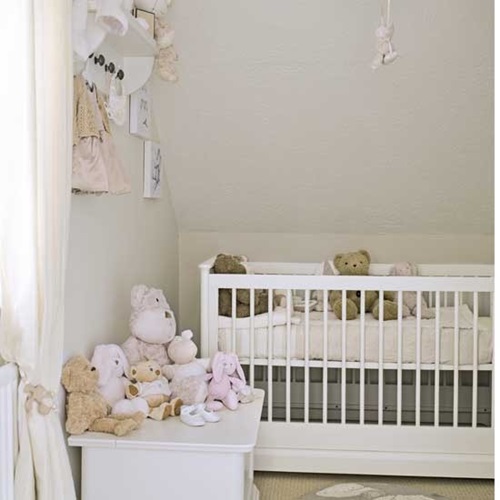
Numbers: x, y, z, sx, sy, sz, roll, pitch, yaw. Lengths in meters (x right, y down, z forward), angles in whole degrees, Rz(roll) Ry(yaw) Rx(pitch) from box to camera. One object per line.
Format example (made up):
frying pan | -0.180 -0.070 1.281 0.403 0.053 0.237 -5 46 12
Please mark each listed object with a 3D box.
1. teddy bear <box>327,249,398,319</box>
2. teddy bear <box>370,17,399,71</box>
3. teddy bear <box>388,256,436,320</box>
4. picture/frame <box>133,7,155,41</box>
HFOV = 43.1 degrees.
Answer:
teddy bear | 0.532 0.180 3.103 0.297 0.381 0.284 -6 -4 32
teddy bear | 0.535 -0.847 2.551 0.093 0.226 0.259 -1 1 12
teddy bear | 0.825 0.200 3.222 0.097 0.306 0.220 -13 -21 -33
picture/frame | -0.464 -1.027 2.840 0.030 0.158 0.122 -6 1 17
